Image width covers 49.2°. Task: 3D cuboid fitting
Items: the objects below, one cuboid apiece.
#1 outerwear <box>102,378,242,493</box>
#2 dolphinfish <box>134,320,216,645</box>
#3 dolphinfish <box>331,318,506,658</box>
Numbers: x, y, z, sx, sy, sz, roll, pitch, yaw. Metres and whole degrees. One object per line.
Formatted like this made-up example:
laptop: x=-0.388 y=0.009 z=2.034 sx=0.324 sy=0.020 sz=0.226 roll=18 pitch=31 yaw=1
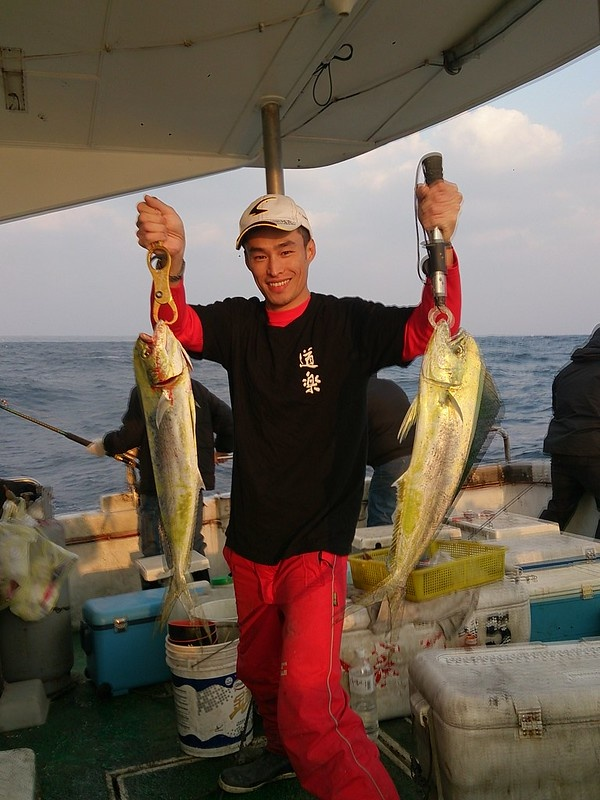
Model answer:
outerwear: x=-1.020 y=0.275 z=5.168 sx=0.888 sy=1.138 sz=0.410 roll=-4 pitch=-8 yaw=-24
dolphinfish: x=-0.344 y=0.244 z=2.051 sx=0.242 sy=0.940 sz=0.220 roll=-6 pitch=19 yaw=-13
dolphinfish: x=0.315 y=0.265 z=2.043 sx=0.455 sy=0.945 sz=0.285 roll=17 pitch=19 yaw=-9
